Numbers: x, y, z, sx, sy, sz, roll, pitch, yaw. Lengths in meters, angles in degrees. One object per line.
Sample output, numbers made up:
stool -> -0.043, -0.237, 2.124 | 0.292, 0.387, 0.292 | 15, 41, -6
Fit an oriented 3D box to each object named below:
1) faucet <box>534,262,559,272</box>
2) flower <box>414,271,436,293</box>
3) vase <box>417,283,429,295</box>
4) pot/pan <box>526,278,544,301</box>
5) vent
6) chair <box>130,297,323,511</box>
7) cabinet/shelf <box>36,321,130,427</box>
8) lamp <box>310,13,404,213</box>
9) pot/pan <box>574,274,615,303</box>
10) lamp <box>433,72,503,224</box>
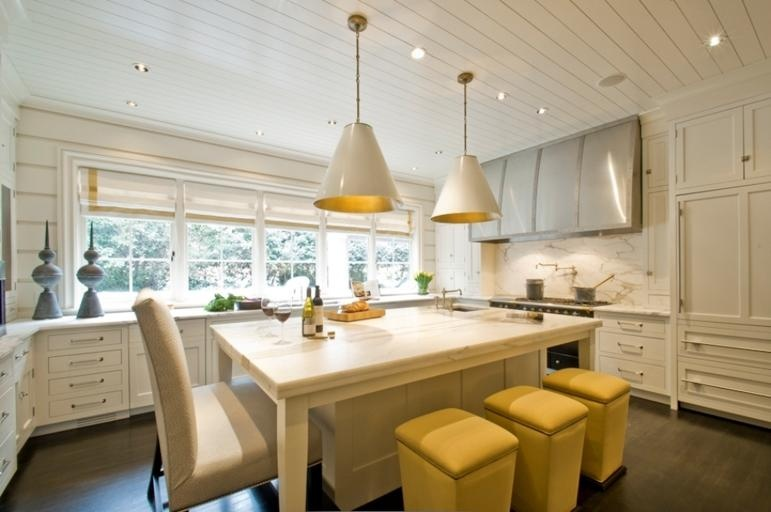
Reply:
faucet -> 2.271, 0.147, 6.880 | 0.033, 0.116, 0.349 | -2, -2, -36
flower -> 0.656, 0.427, 7.775 | 0.331, 0.319, 0.310 | 2, -4, -27
vase -> 0.605, 0.528, 7.697 | 0.148, 0.132, 0.138 | -3, -2, -10
pot/pan -> 2.024, 0.465, 6.642 | 0.267, 0.272, 0.261 | -1, 0, -14
vent -> 2.202, -0.976, 6.060 | 0.361, 0.811, 1.490 | 3, -6, -33
chair -> -1.515, 0.968, 4.747 | 1.661, 2.673, 1.583 | -3, 4, -30
cabinet/shelf -> -3.203, 1.234, 5.496 | 0.939, 1.313, 0.881 | 1, -3, -37
lamp -> -0.323, -1.250, 4.241 | 0.701, 1.348, 0.813 | -2, -1, -18
pot/pan -> 2.631, 0.419, 6.237 | 0.493, 0.368, 0.268 | -2, -2, -18
lamp -> 0.747, -1.036, 4.516 | 0.640, 1.172, 0.630 | 10, 21, 43
